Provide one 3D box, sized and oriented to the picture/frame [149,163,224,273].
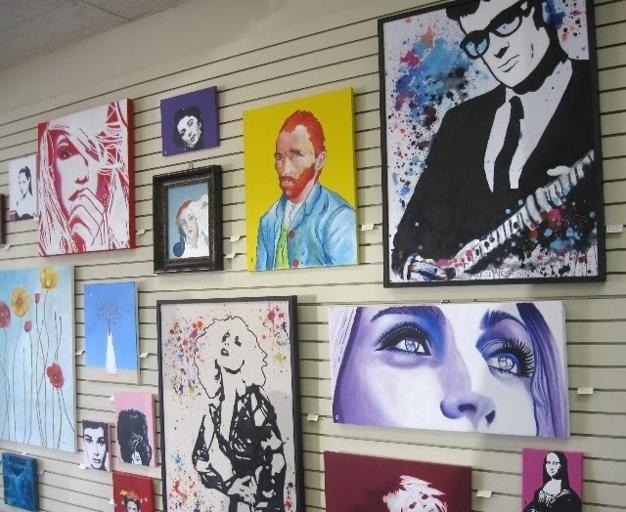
[{"bbox_3d":[-0.676,-0.200,3.734,0.432,0.695,0.068,-4,-4,34],"label":"picture/frame"}]
